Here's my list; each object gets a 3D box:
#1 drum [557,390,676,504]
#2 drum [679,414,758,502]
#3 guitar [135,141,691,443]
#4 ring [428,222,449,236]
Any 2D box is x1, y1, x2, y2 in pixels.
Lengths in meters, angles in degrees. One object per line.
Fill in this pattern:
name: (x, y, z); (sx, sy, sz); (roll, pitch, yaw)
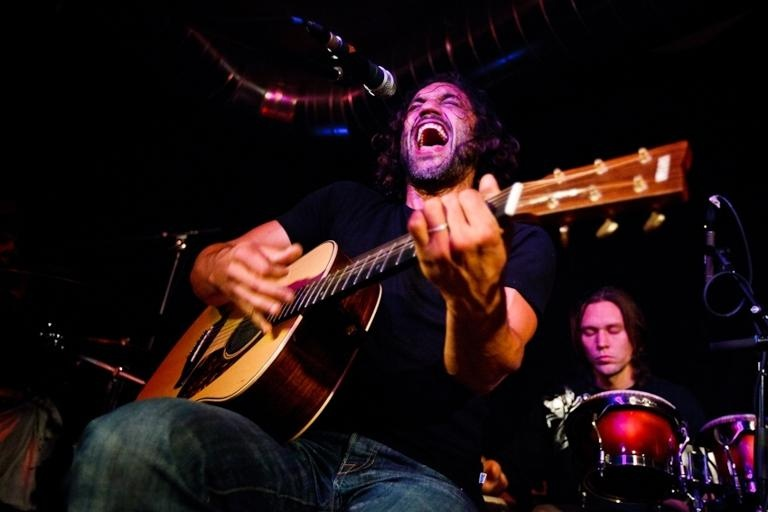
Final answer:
drum: (1.891, 1.552, 4.813); (0.872, 0.526, 0.892); (8, -44, 8)
drum: (2.490, 1.528, 4.539); (0.455, 0.747, 0.282); (2, -21, 45)
guitar: (0.122, 0.596, 3.825); (3.598, 1.501, 0.510); (-27, -50, 33)
ring: (0.275, -0.133, 3.073); (0.063, 0.015, 0.065); (-20, 9, 3)
